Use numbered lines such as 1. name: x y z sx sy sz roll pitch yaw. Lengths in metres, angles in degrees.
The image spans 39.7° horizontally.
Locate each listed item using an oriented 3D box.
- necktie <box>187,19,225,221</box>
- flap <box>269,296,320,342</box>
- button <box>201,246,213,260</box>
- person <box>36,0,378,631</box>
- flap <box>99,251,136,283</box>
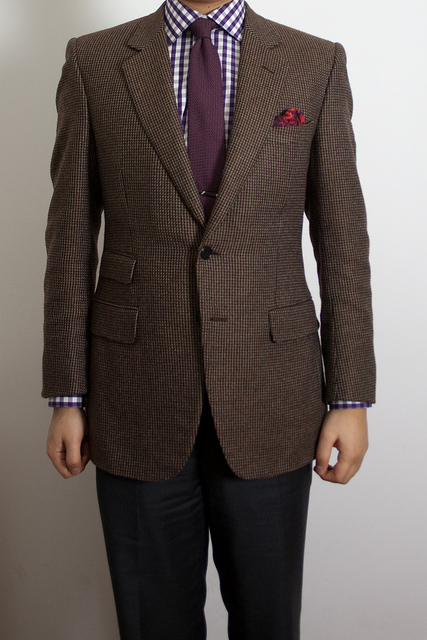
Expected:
1. necktie: -0.017 -0.343 0.957 0.055 0.286 0.024 -1 3 -5
2. flap: 0.142 -0.001 0.998 0.084 0.061 0.021 -7 -4 -43
3. button: -0.011 -0.104 0.910 0.007 0.019 0.022 3 4 41
4. person: -0.004 0.015 1.030 0.573 1.147 0.244 0 3 -11
5. flap: -0.164 -0.090 1.003 0.020 0.056 0.112 -1 4 -33
